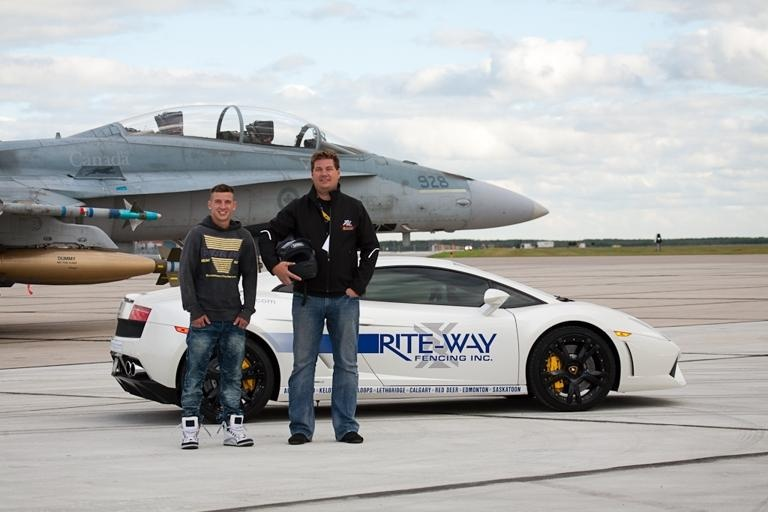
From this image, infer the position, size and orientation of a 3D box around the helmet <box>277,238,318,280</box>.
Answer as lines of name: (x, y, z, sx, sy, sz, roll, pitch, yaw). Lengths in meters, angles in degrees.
helmet: (-0.849, 0.025, 7.316, 0.396, 0.376, 0.188, 0, 7, 0)

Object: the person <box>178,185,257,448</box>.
person: (-1.604, 0.569, 7.375, 0.751, 2.491, 0.771, -1, 7, -9)

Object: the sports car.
sports car: (0.054, 1.001, 8.767, 5.137, 1.103, 2.484, -1, -2, -10)

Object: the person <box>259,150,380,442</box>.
person: (-0.602, 0.387, 7.360, 1.077, 2.762, 0.587, 0, 7, 0)

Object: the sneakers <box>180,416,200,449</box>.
sneakers: (-1.828, 1.654, 7.188, 0.155, 0.283, 0.188, -1, 7, -8)

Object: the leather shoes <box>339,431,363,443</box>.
leather shoes: (-0.304, 1.731, 7.332, 0.264, 0.077, 0.089, -8, -3, 27)
